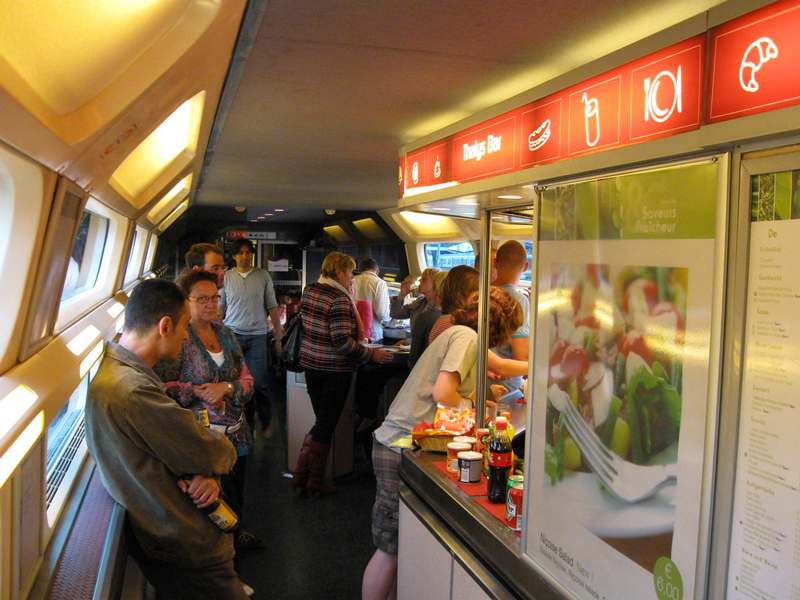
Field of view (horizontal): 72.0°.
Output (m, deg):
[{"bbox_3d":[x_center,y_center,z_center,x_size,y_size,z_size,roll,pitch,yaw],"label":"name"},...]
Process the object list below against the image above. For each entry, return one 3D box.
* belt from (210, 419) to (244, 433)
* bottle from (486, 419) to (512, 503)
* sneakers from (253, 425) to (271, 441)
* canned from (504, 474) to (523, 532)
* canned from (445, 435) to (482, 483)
[{"bbox_3d":[-0.901,0.653,2.826,0.113,0.036,0.117,1,-2,-1],"label":"belt"},{"bbox_3d":[0.406,0.656,2.261,0.094,0.329,0.108,0,3,9],"label":"bottle"},{"bbox_3d":[-1.538,1.477,6.100,0.097,0.222,0.303,2,-13,-11],"label":"sneakers"},{"bbox_3d":[0.419,0.757,2.033,0.056,0.167,0.243,1,3,11],"label":"canned"},{"bbox_3d":[0.289,0.713,2.479,0.097,0.127,0.185,0,0,-3],"label":"canned"}]
